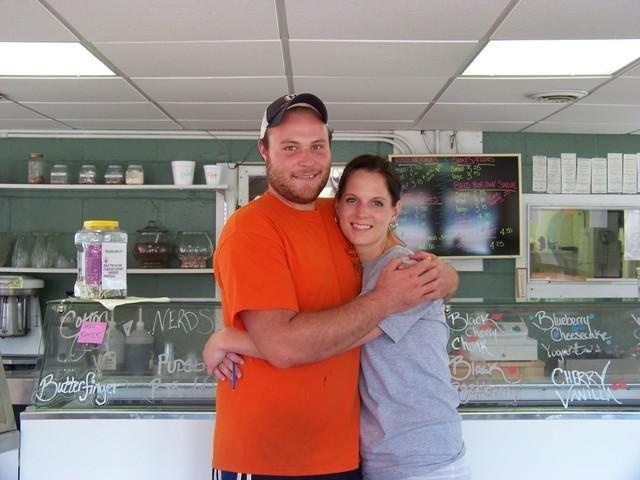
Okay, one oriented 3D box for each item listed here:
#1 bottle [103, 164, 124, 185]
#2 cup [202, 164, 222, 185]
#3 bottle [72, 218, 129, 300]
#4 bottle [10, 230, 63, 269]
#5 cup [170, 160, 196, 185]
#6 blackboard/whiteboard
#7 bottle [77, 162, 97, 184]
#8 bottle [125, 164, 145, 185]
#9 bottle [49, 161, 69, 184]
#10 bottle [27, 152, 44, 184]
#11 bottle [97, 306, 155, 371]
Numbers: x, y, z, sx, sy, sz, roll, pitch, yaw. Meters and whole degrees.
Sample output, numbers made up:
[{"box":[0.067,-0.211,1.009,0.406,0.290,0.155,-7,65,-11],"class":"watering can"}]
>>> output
[{"box":[-1.683,-0.535,4.824,0.191,0.150,0.175,1,0,0],"class":"bottle"},{"box":[-0.868,-0.531,4.801,0.182,0.146,0.163,0,-3,-12],"class":"cup"},{"box":[-1.016,0.092,2.738,0.223,0.358,0.180,0,-4,-21],"class":"bottle"},{"box":[-2.351,0.084,4.865,0.370,0.257,0.129,1,-3,-2],"class":"bottle"},{"box":[-1.103,-0.548,4.776,0.228,0.167,0.216,-1,-1,0],"class":"cup"},{"box":[1.086,-0.299,4.702,1.101,0.663,0.034,0,2,1],"class":"blackboard/whiteboard"},{"box":[-1.902,-0.541,4.825,0.201,0.181,0.147,0,0,-8],"class":"bottle"},{"box":[-1.512,-0.543,4.820,0.191,0.150,0.170,1,4,-5],"class":"bottle"},{"box":[-2.122,-0.554,4.847,0.191,0.151,0.169,1,-2,-11],"class":"bottle"},{"box":[-2.360,-0.589,4.891,0.123,0.266,0.246,1,-3,-26],"class":"bottle"},{"box":[-0.883,0.458,2.688,0.247,0.313,0.028,-1,-4,-5],"class":"bottle"}]
